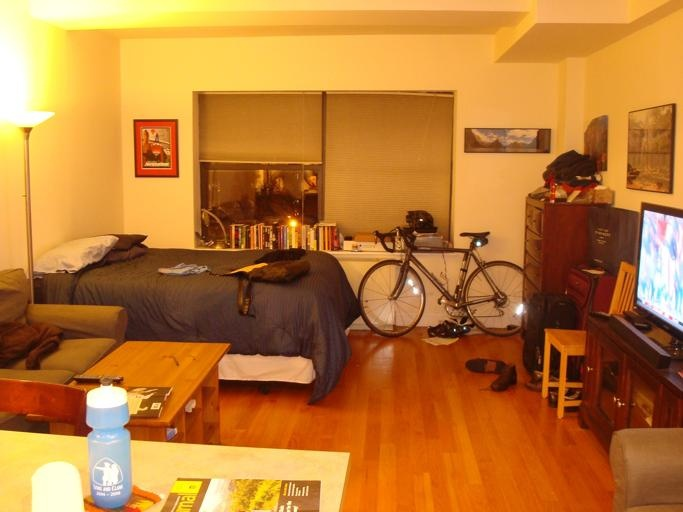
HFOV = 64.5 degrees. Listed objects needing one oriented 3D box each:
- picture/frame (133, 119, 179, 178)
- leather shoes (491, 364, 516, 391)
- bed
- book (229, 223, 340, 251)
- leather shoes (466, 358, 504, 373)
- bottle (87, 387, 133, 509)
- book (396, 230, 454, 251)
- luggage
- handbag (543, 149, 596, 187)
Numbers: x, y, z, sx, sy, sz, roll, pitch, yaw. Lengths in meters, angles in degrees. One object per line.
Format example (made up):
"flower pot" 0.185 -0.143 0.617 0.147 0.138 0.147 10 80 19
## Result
"picture/frame" -1.969 -1.166 5.785 0.635 0.767 0.039 1 7 -1
"leather shoes" 1.267 0.953 4.275 0.104 0.131 0.318 2 4 37
"bed" -1.021 0.362 4.263 1.876 0.604 1.168 1 12 4
"book" -0.656 -0.220 5.862 1.221 0.281 0.224 1 12 6
"leather shoes" 1.204 0.905 4.524 0.285 0.066 0.126 4 21 22
"bottle" -0.673 0.536 1.549 0.133 0.350 0.105 -4 13 -16
"book" 0.858 -0.162 5.638 0.579 0.203 0.405 0 12 3
"luggage" 1.791 0.569 4.442 0.444 0.749 0.544 7 -5 5
"handbag" 2.061 -0.778 4.925 0.398 0.167 0.395 -1 20 11
